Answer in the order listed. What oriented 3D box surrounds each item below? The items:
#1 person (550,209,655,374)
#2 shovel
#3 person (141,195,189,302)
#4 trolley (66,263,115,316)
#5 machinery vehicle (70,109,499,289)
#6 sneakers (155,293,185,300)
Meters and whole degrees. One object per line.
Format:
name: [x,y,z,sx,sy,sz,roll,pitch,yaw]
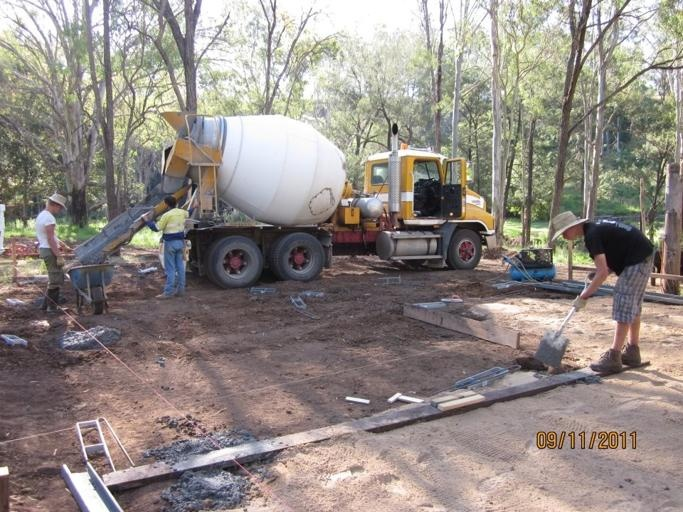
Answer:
person: [3.340,0.454,6.655,0.977,1.991,0.859,4,6,30]
shovel: [2.804,0.868,6.645,0.322,1.245,0.253,22,41,15]
person: [-3.690,-0.222,11.186,0.867,2.102,0.964,-1,5,-17]
trolley: [-4.778,0.536,10.024,0.866,0.924,1.787,-7,11,-34]
machinery vehicle: [0.681,-2.383,15.735,14.380,5.092,4.210,-5,12,-31]
sneakers: [-3.583,0.829,11.012,0.553,0.237,0.196,6,-1,-32]
